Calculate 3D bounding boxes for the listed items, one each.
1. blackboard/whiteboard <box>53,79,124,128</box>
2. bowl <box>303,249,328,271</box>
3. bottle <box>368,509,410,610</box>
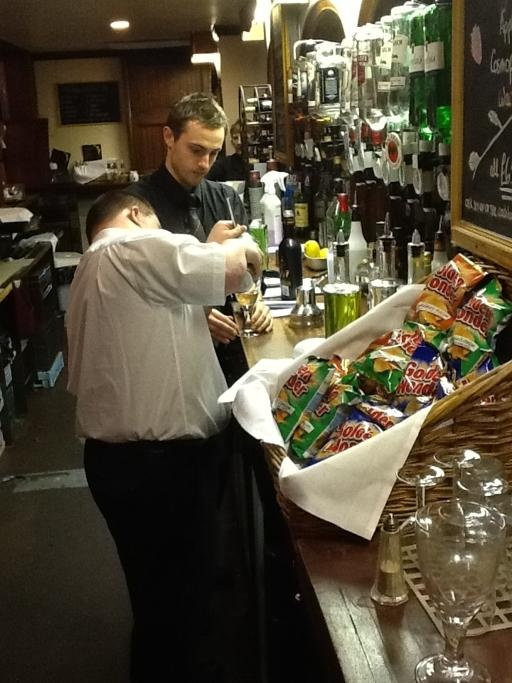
[{"bbox_3d":[-3.133,-4.433,9.084,0.775,0.605,0.112,-2,6,-7],"label":"blackboard/whiteboard"},{"bbox_3d":[0.327,-0.455,2.732,0.099,0.056,0.102,1,15,0],"label":"bowl"},{"bbox_3d":[0.155,0.256,0.572,0.042,0.085,0.055,3,14,32],"label":"bottle"}]
